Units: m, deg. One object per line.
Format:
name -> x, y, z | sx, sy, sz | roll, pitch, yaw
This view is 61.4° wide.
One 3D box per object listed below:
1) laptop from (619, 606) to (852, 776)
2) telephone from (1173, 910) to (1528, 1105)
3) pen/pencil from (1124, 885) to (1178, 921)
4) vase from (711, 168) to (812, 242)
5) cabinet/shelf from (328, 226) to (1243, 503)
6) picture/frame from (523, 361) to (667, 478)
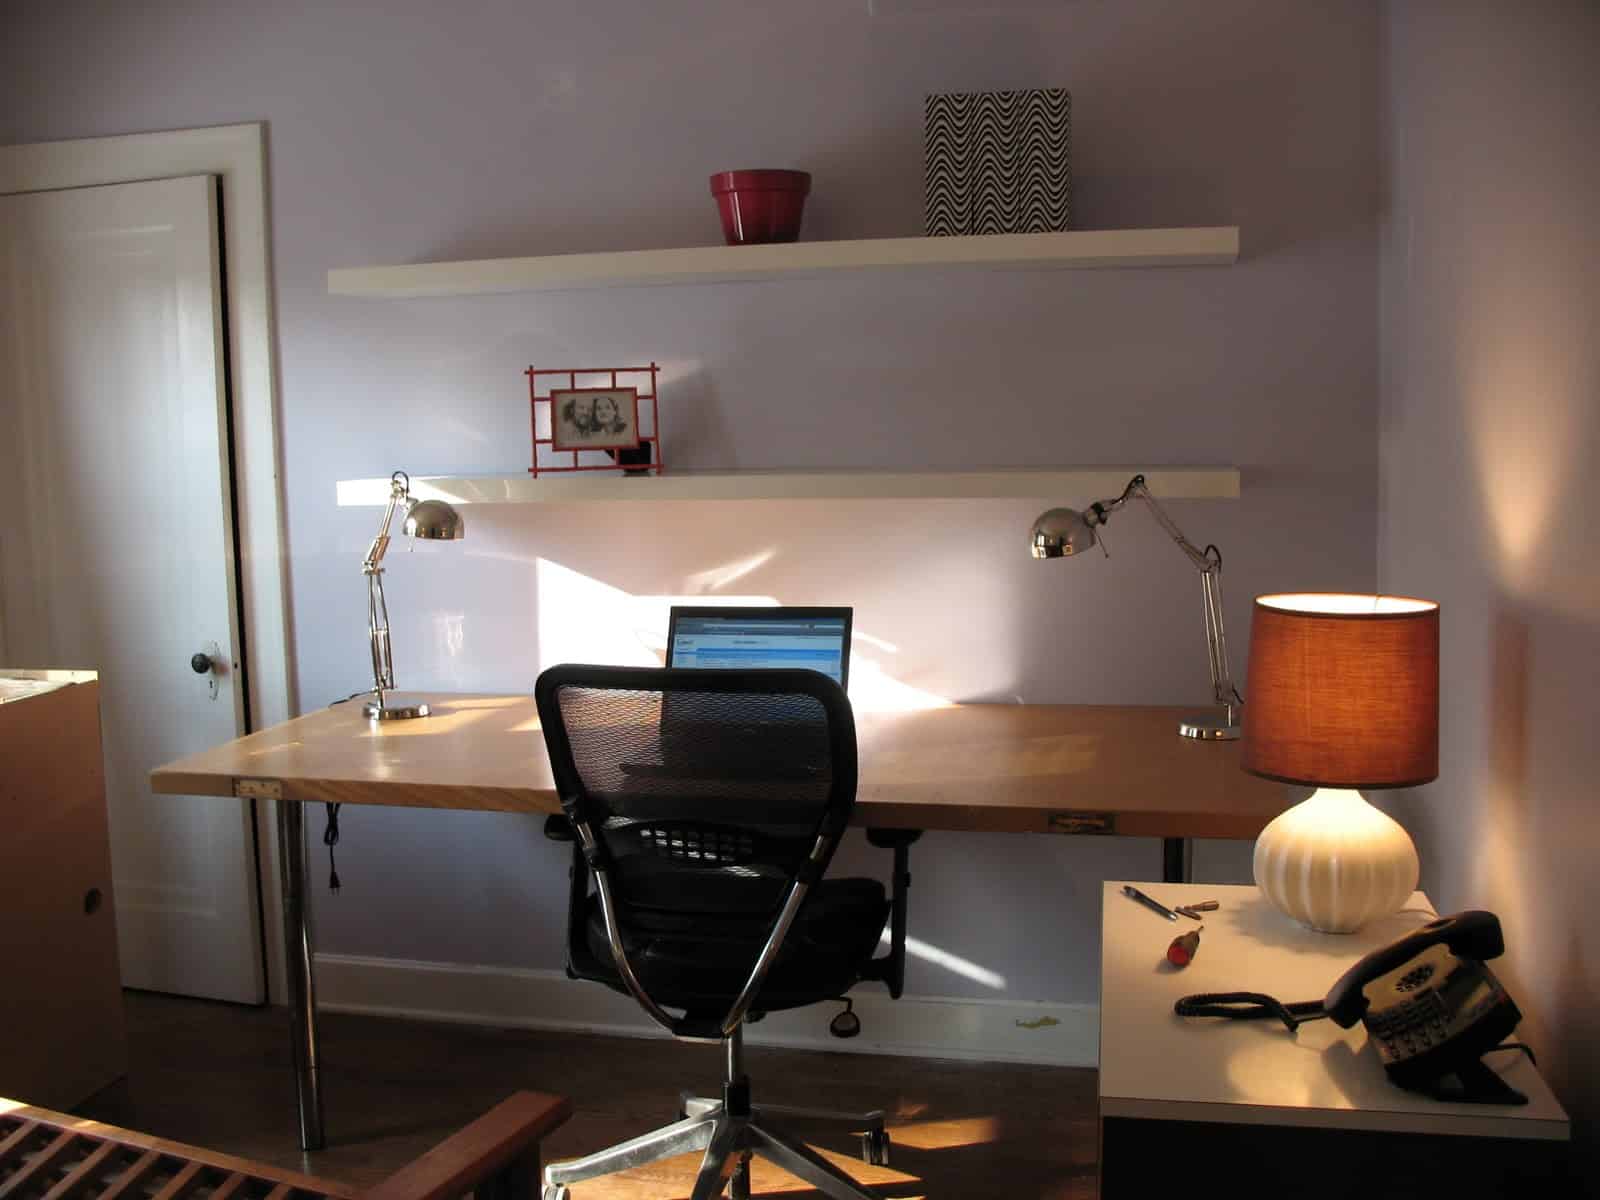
laptop -> -0.099, 0.221, 3.123 | 0.446, 0.286, 0.300 | 3, -34, -6
telephone -> 0.780, 0.565, 1.879 | 0.317, 0.127, 0.247 | -6, -2, 5
pen/pencil -> 0.596, 0.517, 2.318 | 0.022, 0.027, 0.111 | 14, 5, -17
vase -> -0.091, -0.931, 3.201 | 0.242, 0.157, 0.245 | -7, 9, -25
cabinet/shelf -> -0.061, -0.535, 3.304 | 2.118, 0.616, 0.595 | -1, 7, -1
picture/frame -> -0.504, -0.448, 3.349 | 0.382, 0.293, 0.027 | -7, 10, -34
